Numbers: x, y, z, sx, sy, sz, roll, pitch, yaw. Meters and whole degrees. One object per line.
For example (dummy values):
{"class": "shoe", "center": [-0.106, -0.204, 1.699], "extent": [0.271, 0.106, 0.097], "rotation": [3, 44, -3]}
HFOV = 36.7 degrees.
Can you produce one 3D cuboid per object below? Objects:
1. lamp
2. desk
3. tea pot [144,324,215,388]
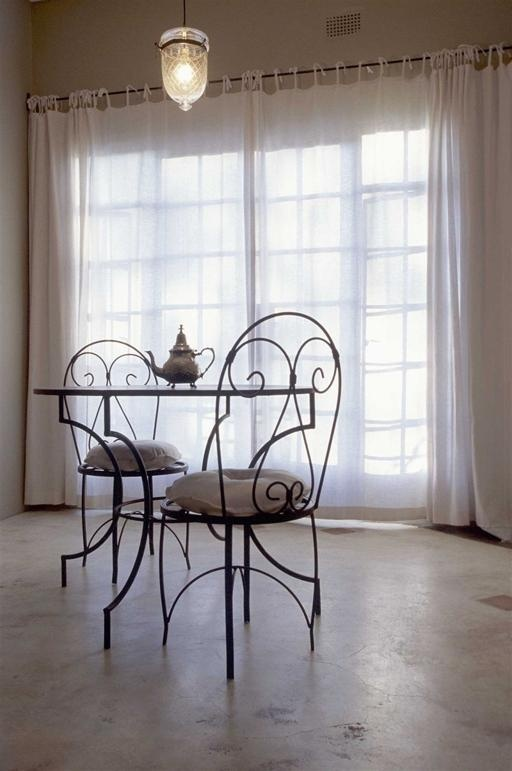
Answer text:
{"class": "lamp", "center": [-0.256, -1.111, 2.718], "extent": [0.167, 0.287, 0.162], "rotation": [0, 2, 2]}
{"class": "desk", "center": [-0.359, 0.346, 2.555], "extent": [0.718, 0.734, 1.501], "rotation": [-1, 3, -20]}
{"class": "tea pot", "center": [-0.242, -0.095, 2.568], "extent": [0.232, 0.292, 0.171], "rotation": [0, -1, -2]}
